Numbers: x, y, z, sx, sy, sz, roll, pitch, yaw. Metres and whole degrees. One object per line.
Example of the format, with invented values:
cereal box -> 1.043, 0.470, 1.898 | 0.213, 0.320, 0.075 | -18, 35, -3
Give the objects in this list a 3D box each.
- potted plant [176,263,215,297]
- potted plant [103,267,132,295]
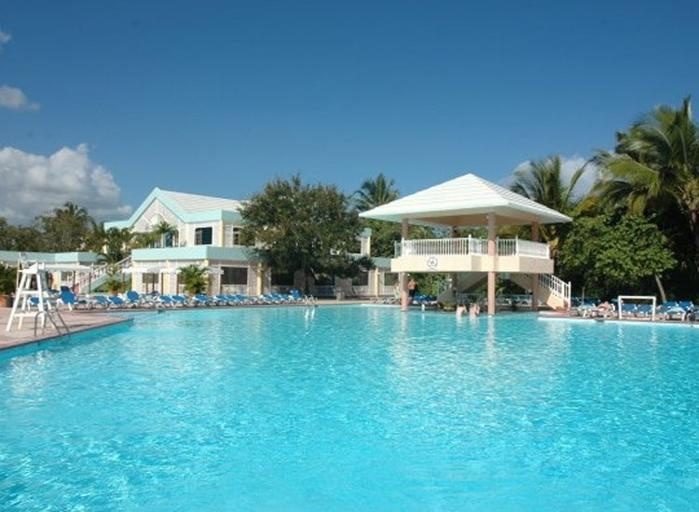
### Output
potted plant -> -9.712, 1.453, 36.176 | 2.024, 2.234, 1.840 | 1, -5, -44
potted plant -> -16.401, 1.759, 40.636 | 1.762, 1.975, 1.828 | 3, 2, 34
